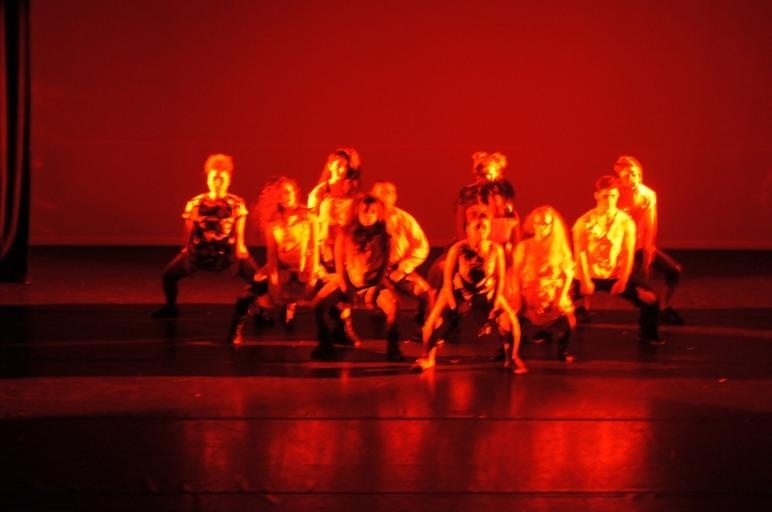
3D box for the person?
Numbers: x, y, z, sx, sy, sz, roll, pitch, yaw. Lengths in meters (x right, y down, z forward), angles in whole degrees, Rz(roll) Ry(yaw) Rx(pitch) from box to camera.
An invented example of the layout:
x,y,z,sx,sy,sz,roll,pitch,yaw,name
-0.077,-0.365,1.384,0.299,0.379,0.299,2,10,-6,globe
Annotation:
x,y,z,sx,sy,sz,roll,pitch,yaw,name
-0.442,-0.050,3.928,1.778,1.103,0.398,4,3,0,person
